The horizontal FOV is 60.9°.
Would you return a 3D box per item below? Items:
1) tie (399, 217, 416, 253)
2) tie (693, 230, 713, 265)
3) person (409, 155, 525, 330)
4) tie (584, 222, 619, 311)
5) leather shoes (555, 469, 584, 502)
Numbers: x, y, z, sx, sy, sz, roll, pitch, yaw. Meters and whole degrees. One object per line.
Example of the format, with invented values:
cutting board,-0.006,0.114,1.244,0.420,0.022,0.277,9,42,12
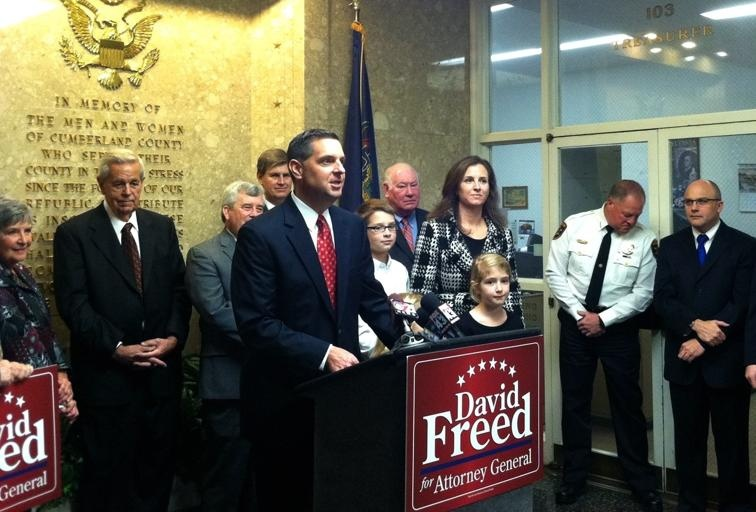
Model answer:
tie,0.227,-0.183,4.845,0.061,0.043,0.369,-2,46,-8
tie,2.188,-0.063,4.310,0.056,0.266,0.077,4,-36,17
person,0.586,0.182,4.370,0.748,1.635,0.522,2,9,-2
tie,1.599,0.085,4.602,0.239,0.586,0.096,-8,7,-31
leather shoes,1.393,1.680,4.695,0.112,0.131,0.293,-4,-8,44
